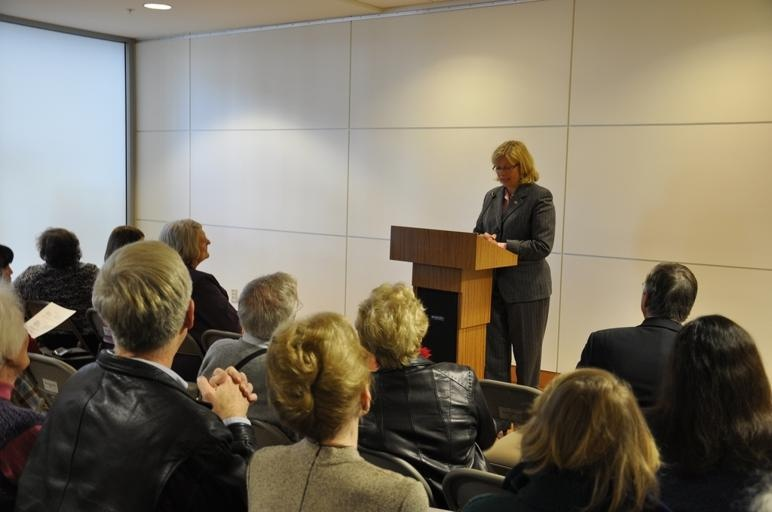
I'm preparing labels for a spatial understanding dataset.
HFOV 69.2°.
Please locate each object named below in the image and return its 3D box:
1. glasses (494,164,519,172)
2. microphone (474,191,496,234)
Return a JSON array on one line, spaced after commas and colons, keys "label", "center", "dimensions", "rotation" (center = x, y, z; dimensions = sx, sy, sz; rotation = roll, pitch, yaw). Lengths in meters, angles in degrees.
[{"label": "glasses", "center": [0.912, -0.667, 4.264], "dimensions": [0.181, 0.046, 0.080], "rotation": [6, 3, 14]}, {"label": "microphone", "center": [0.806, -0.369, 4.474], "dimensions": [0.097, 0.335, 0.234], "rotation": [7, 6, -6]}]
